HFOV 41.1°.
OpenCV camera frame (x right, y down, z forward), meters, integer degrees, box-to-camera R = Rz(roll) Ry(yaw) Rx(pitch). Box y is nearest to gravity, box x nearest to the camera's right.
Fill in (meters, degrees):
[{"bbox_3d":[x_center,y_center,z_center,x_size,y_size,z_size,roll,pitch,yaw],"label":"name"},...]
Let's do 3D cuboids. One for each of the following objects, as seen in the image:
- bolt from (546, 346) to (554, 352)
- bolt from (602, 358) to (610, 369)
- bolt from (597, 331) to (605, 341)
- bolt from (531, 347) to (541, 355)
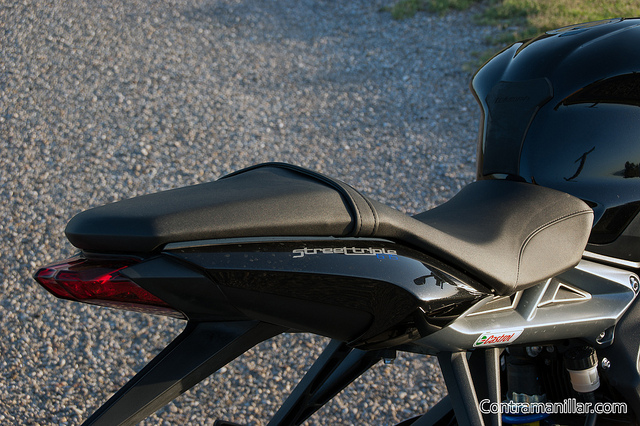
[{"bbox_3d":[1.008,0.596,3.734,0.027,0.021,0.019,5,66,4],"label":"bolt"},{"bbox_3d":[1.232,0.650,3.679,0.039,0.013,0.035,-8,104,-8],"label":"bolt"},{"bbox_3d":[1.202,0.530,3.656,0.008,0.029,0.029,37,74,18],"label":"bolt"},{"bbox_3d":[0.950,0.608,3.757,0.034,0.008,0.032,-9,48,7],"label":"bolt"}]
